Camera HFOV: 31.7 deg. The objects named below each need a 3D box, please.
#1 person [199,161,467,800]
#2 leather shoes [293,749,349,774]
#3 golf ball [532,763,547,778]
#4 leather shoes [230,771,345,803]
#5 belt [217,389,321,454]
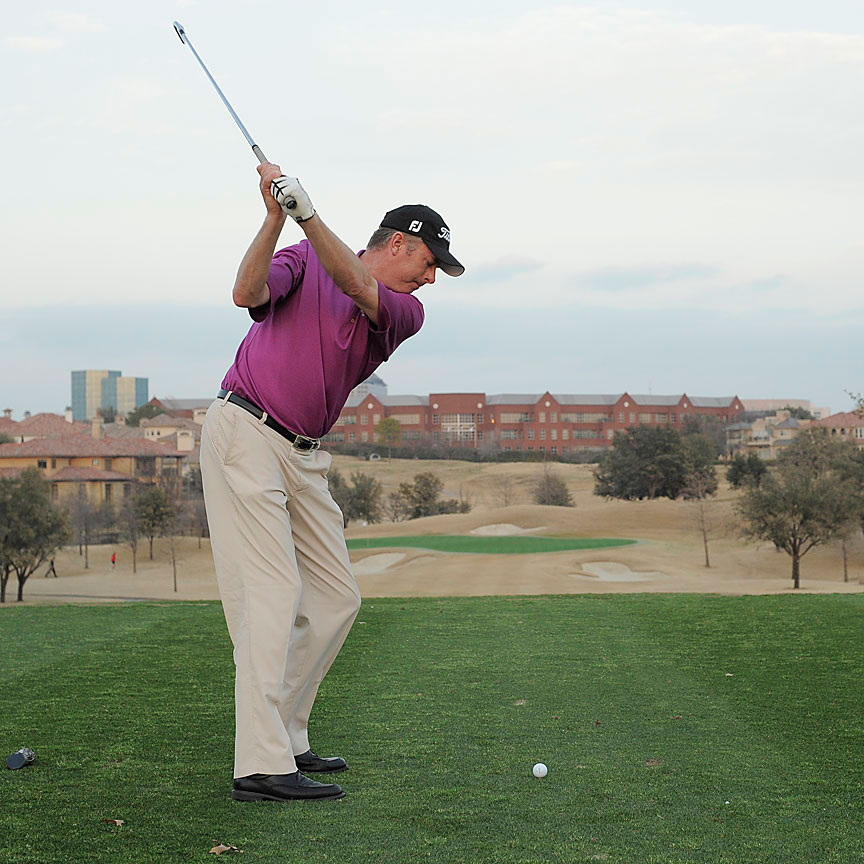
[{"bbox_3d":[-0.486,0.184,7.442,1.426,2.953,1.176,2,2,-7],"label":"person"},{"bbox_3d":[-0.539,1.595,7.361,0.287,0.109,0.095,0,-2,4],"label":"leather shoes"},{"bbox_3d":[0.509,1.624,7.263,0.055,0.074,0.054,-4,-8,-1],"label":"golf ball"},{"bbox_3d":[-0.644,1.597,6.913,0.505,0.210,0.171,0,-8,1],"label":"leather shoes"},{"bbox_3d":[-0.770,-0.078,7.137,0.320,0.318,0.398,-2,3,-30],"label":"belt"}]
